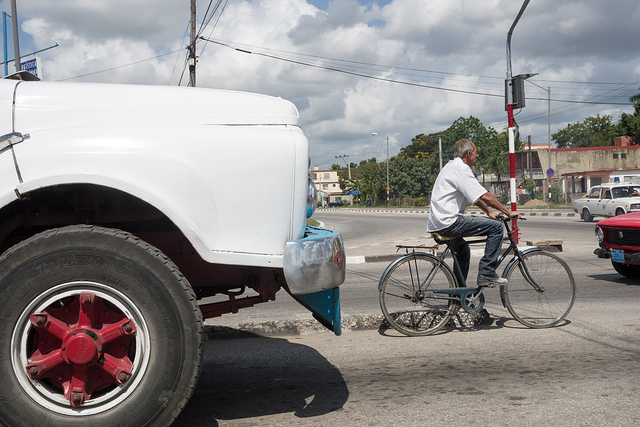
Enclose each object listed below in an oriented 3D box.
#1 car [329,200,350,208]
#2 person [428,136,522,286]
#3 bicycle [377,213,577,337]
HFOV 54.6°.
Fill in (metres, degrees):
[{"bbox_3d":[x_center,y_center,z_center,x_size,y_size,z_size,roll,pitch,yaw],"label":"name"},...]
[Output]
[{"bbox_3d":[2.952,-1.454,106.818,1.447,1.028,3.035,-3,6,-24],"label":"car"},{"bbox_3d":[1.560,0.013,6.438,0.853,1.564,0.507,-1,4,11],"label":"person"},{"bbox_3d":[1.835,0.700,7.095,2.466,1.353,0.983,-3,0,-4],"label":"bicycle"}]
